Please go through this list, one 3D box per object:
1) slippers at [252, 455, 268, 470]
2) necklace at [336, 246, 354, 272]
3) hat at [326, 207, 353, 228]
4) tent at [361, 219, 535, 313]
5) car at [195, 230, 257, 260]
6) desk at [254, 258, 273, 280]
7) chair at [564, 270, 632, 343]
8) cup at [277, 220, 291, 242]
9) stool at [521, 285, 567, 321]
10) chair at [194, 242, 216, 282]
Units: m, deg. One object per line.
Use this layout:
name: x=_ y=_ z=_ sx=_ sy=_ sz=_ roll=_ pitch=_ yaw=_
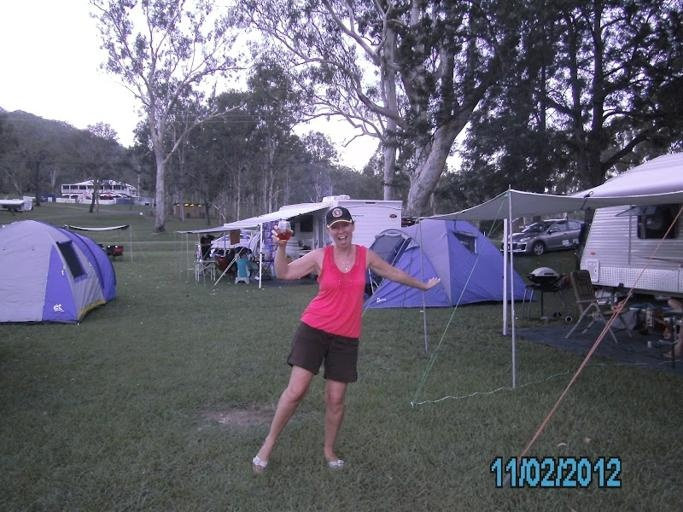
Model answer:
slippers: x=-0.787 y=2.009 z=5.244 sx=0.103 sy=0.105 sz=0.147 roll=16 pitch=-3 yaw=-18
necklace: x=0.038 y=0.035 z=5.095 sx=0.116 sy=0.242 sz=0.054 roll=0 pitch=-4 yaw=-6
hat: x=-0.020 y=-0.372 z=5.147 sx=0.262 sy=0.181 sz=0.249 roll=-3 pitch=11 yaw=-12
tent: x=2.320 y=0.269 z=12.262 sx=2.346 sy=1.371 sz=2.489 roll=-1 pitch=1 yaw=-20
car: x=-4.684 y=-0.424 z=21.663 sx=2.898 sy=1.093 sz=1.972 roll=0 pitch=1 yaw=3
desk: x=-2.588 y=0.508 z=18.238 sx=0.462 sy=0.490 sz=0.914 roll=-1 pitch=3 yaw=-7
chair: x=4.478 y=0.816 z=9.336 sx=0.881 sy=1.158 sz=0.871 roll=-4 pitch=7 yaw=32
cup: x=-0.519 y=-0.236 z=4.939 sx=0.127 sy=0.187 sz=0.291 roll=-2 pitch=11 yaw=-7
stool: x=4.575 y=0.950 z=11.851 sx=0.715 sy=0.759 sz=0.618 roll=-2 pitch=7 yaw=40
chair: x=-4.471 y=0.157 z=18.397 sx=0.607 sy=1.398 sz=0.740 roll=10 pitch=3 yaw=-33
